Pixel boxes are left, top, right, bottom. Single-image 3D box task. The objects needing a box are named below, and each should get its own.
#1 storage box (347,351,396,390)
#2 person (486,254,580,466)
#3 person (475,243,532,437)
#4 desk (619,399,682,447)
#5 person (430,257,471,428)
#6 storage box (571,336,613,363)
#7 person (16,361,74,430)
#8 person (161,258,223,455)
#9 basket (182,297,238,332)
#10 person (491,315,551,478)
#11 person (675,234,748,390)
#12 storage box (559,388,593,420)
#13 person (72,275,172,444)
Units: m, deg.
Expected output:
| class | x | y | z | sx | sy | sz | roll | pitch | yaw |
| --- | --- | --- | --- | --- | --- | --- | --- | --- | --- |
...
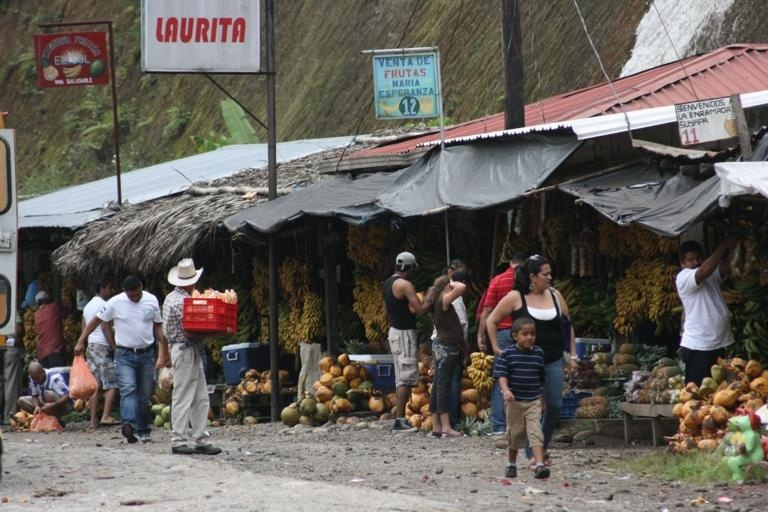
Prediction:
| class | x | y | z | sx | sy | sz | roll | pitch | yaw |
| --- | --- | --- | --- | --- | --- | --- | --- | --- | --- |
| storage box | -0.082 | 2.411 | 30.502 | 0.883 | 0.543 | 0.914 | 1 | -12 | -19 |
| person | 2.513 | 1.695 | 25.745 | 1.145 | 3.551 | 1.388 | 0 | -1 | 16 |
| person | 2.103 | 1.513 | 27.212 | 0.915 | 3.267 | 0.926 | -2 | -3 | 13 |
| desk | 4.652 | 2.961 | 26.815 | 0.733 | 0.712 | 0.910 | 5 | -11 | -20 |
| person | 1.409 | 1.559 | 27.862 | 0.847 | 2.808 | 0.753 | 2 | -1 | -31 |
| storage box | 3.874 | 1.697 | 28.367 | 0.543 | 0.440 | 0.571 | -2 | -5 | 21 |
| person | -6.771 | 2.893 | 30.515 | 1.468 | 1.697 | 0.889 | -3 | -4 | 30 |
| person | -3.448 | 1.755 | 26.721 | 0.829 | 3.445 | 0.688 | 0 | -5 | -13 |
| basket | -3.045 | 1.049 | 26.518 | 0.641 | 0.467 | 0.671 | -2 | -8 | 23 |
| person | 2.294 | 2.330 | 25.286 | 0.791 | 2.530 | 1.003 | -1 | -3 | 12 |
| person | 5.461 | 0.937 | 25.806 | 0.913 | 2.619 | 0.913 | 0 | 0 | -10 |
| storage box | 3.427 | 2.688 | 27.563 | 0.517 | 0.569 | 0.336 | -1 | -11 | 6 |
| person | -4.706 | 1.754 | 28.448 | 1.229 | 3.320 | 1.044 | 0 | 0 | -20 |
